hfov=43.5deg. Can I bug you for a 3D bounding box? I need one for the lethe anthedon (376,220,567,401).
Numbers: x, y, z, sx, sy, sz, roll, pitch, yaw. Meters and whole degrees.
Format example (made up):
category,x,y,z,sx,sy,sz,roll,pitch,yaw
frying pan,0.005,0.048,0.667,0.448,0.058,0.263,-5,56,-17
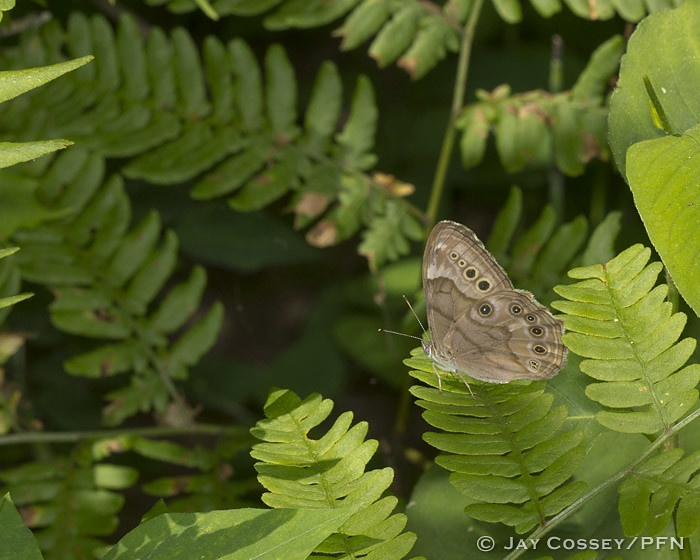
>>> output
category,x,y,z,sx,sy,sz,roll,pitch,yaw
lethe anthedon,0.368,0.081,2.479,0.377,0.279,0.486,-16,51,2
